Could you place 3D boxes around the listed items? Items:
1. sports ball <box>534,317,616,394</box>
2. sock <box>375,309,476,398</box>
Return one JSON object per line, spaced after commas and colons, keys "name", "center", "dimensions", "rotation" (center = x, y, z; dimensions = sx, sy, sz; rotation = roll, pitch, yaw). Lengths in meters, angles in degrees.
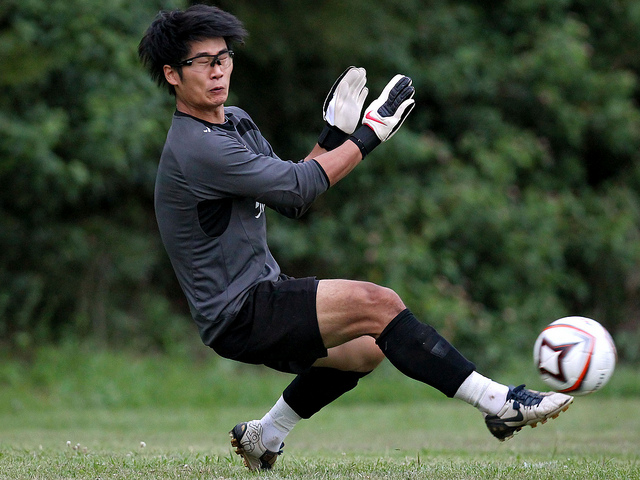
{"name": "sports ball", "center": [1.657, 0.822, 5.669], "dimensions": [0.480, 0.578, 0.539], "rotation": [1, 1, 3]}
{"name": "sock", "center": [0.610, 0.701, 5.499], "dimensions": [0.677, 0.410, 0.268], "rotation": [38, -11, -2]}
